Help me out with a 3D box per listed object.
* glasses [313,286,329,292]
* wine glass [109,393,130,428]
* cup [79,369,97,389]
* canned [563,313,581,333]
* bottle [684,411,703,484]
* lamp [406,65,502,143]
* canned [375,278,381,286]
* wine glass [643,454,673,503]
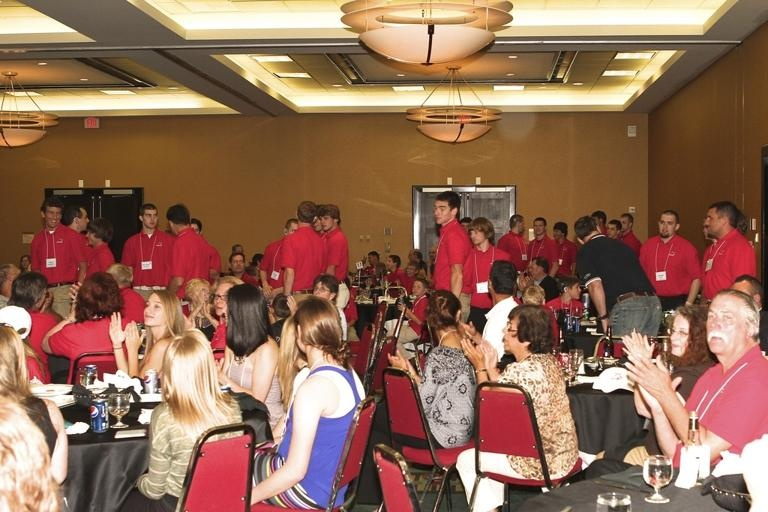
[{"bbox_3d":[-0.649,0.336,6.194,0.081,0.026,0.084,3,9,32],"label":"glasses"},{"bbox_3d":[-1.694,0.974,3.764,0.132,0.215,0.130,1,2,-37],"label":"wine glass"},{"bbox_3d":[-2.175,0.892,4.316,0.121,0.143,0.126,0,-14,0],"label":"cup"},{"bbox_3d":[2.094,0.746,6.600,0.177,0.256,0.195,5,-7,-22],"label":"canned"},{"bbox_3d":[1.628,0.977,3.073,0.057,0.329,0.370,-3,-8,27],"label":"bottle"},{"bbox_3d":[1.240,-2.758,10.626,1.695,1.587,1.821,3,7,10],"label":"lamp"},{"bbox_3d":[-0.103,0.480,10.929,0.118,0.126,0.123,-3,-4,3],"label":"canned"},{"bbox_3d":[1.328,1.058,2.848,0.124,0.208,0.195,-3,-8,23],"label":"wine glass"}]
